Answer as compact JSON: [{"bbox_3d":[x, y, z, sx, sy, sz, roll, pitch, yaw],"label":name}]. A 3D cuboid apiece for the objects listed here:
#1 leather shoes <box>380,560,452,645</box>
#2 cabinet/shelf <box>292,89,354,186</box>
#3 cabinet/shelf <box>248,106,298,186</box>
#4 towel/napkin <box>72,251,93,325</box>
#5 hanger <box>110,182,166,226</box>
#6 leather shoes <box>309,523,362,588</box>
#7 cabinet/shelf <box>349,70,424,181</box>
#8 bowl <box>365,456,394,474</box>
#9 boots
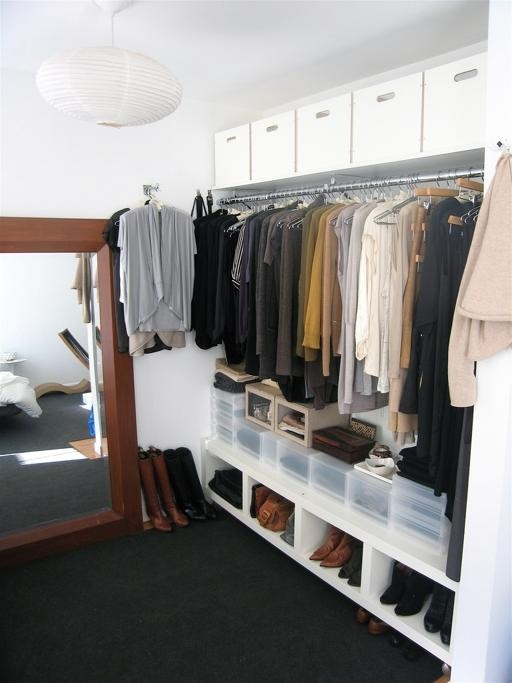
[{"bbox_3d":[0.674,1.094,2.045,0.156,0.071,0.208,7,9,36],"label":"leather shoes"},{"bbox_3d":[0.301,-1.010,2.480,0.286,0.307,0.166,-16,25,-16],"label":"cabinet/shelf"},{"bbox_3d":[0.073,-1.088,2.823,0.143,0.294,0.294,-29,39,-26],"label":"cabinet/shelf"},{"bbox_3d":[-0.965,-0.293,2.765,0.034,0.384,0.114,4,7,41],"label":"towel/napkin"},{"bbox_3d":[-0.675,-0.800,2.859,0.141,0.194,0.515,4,22,-6],"label":"hanger"},{"bbox_3d":[0.425,1.065,2.450,0.112,0.214,0.284,-1,-10,44],"label":"leather shoes"},{"bbox_3d":[0.587,-0.932,2.156,0.320,0.325,0.174,-2,7,32],"label":"cabinet/shelf"},{"bbox_3d":[0.582,0.587,2.335,0.131,0.057,0.114,1,6,16],"label":"bowl"},{"bbox_3d":[-0.500,0.903,3.328,0.440,0.615,0.502,-2,9,43],"label":"boots"}]
